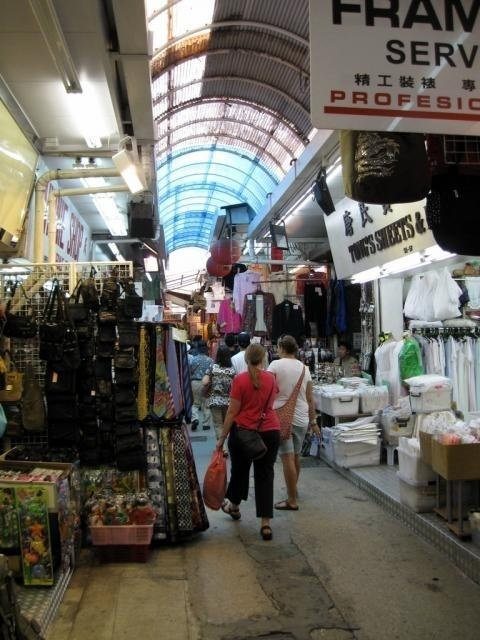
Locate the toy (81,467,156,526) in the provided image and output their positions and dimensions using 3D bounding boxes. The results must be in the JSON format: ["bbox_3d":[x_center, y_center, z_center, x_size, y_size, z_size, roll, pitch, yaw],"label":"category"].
[{"bbox_3d":[-0.865,1.258,3.183,0.514,0.287,0.529,3,-7,-20],"label":"toy"}]

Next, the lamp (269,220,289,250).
[{"bbox_3d":[0.646,-1.399,7.351,0.185,0.463,0.382,-4,-8,34],"label":"lamp"}]

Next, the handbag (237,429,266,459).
[{"bbox_3d":[0.095,0.971,3.484,0.098,0.141,0.181,36,15,-39],"label":"handbag"}]

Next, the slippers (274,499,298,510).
[{"bbox_3d":[0.445,1.770,4.209,0.168,0.067,0.098,4,-6,5],"label":"slippers"}]

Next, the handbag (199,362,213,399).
[{"bbox_3d":[-0.459,0.835,5.786,0.134,0.395,0.279,10,11,29],"label":"handbag"}]

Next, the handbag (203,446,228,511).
[{"bbox_3d":[-0.206,1.310,3.617,0.183,0.511,0.221,1,-7,-6],"label":"handbag"}]

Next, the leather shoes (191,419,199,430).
[{"bbox_3d":[-0.823,1.930,8.028,0.128,0.198,0.111,9,20,24],"label":"leather shoes"}]

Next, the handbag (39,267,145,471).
[{"bbox_3d":[-1.083,0.352,3.297,0.761,1.502,0.419,3,-7,-18],"label":"handbag"}]

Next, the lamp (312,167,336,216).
[{"bbox_3d":[1.063,-1.631,5.564,0.252,0.647,0.169,-17,-23,5],"label":"lamp"}]

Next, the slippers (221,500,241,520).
[{"bbox_3d":[-0.082,1.715,4.037,0.111,0.096,0.238,0,20,-24],"label":"slippers"}]

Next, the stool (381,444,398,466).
[{"bbox_3d":[1.789,1.614,5.297,0.211,0.178,0.223,1,-10,-11],"label":"stool"}]

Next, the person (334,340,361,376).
[{"bbox_3d":[1.775,0.649,7.322,0.359,0.591,1.485,-1,-7,13],"label":"person"}]

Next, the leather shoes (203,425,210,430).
[{"bbox_3d":[-0.610,1.976,8.140,0.132,0.101,0.079,1,2,-9],"label":"leather shoes"}]

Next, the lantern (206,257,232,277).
[{"bbox_3d":[-0.416,-1.061,8.875,0.398,0.320,0.431,-2,9,-11],"label":"lantern"}]

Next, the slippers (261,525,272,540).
[{"bbox_3d":[0.214,1.682,3.499,0.052,0.048,0.117,1,2,-4],"label":"slippers"}]

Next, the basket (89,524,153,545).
[{"bbox_3d":[-0.787,1.440,2.953,0.280,0.101,0.184,0,-8,-2],"label":"basket"}]

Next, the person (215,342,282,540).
[{"bbox_3d":[0.078,0.971,3.685,0.481,1.531,0.516,-1,-7,11],"label":"person"}]

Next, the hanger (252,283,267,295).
[{"bbox_3d":[0.362,-0.558,8.106,0.150,0.147,0.212,4,15,18],"label":"hanger"}]

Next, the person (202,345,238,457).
[{"bbox_3d":[-0.259,0.978,5.773,0.431,1.340,0.395,0,3,-5],"label":"person"}]

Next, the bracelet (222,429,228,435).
[{"bbox_3d":[-0.120,0.892,3.517,0.041,0.044,0.040,-2,-16,8],"label":"bracelet"}]

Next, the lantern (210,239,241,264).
[{"bbox_3d":[-0.320,-1.227,8.157,0.455,0.561,0.445,2,7,31],"label":"lantern"}]

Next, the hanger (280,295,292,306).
[{"bbox_3d":[0.853,-0.360,8.358,0.168,0.095,0.248,1,7,0],"label":"hanger"}]
